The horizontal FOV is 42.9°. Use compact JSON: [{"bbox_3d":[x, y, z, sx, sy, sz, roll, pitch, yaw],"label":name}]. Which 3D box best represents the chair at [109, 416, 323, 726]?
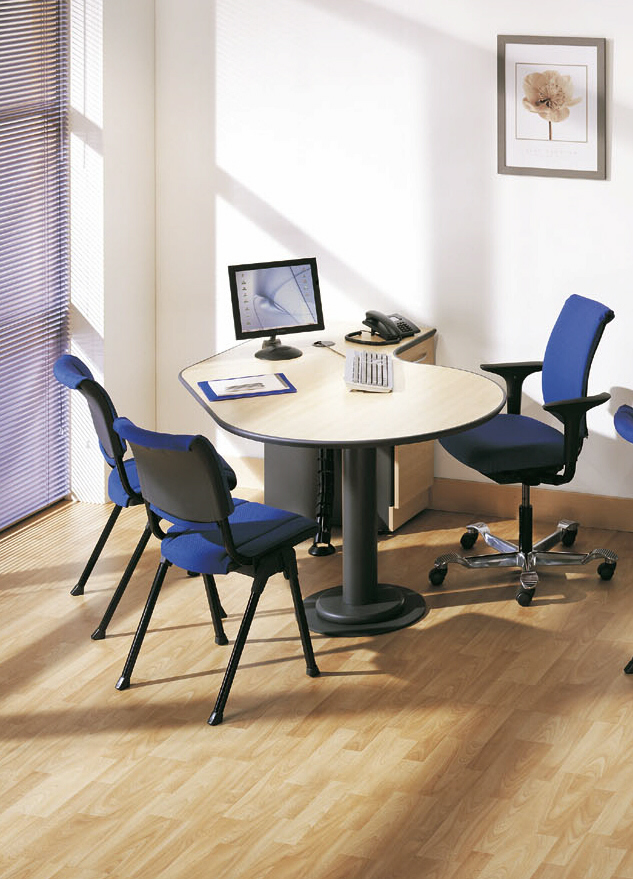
[{"bbox_3d":[-0.329,0.465,2.650,0.577,1.014,0.737,17,28,39],"label":"chair"}]

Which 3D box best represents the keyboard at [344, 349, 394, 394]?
[{"bbox_3d":[0.199,-0.255,3.013,0.175,0.051,0.248,7,24,2],"label":"keyboard"}]

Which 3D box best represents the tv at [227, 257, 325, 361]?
[{"bbox_3d":[-0.173,-0.555,3.416,0.438,0.394,0.206,-13,24,-30],"label":"tv"}]

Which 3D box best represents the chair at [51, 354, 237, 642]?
[{"bbox_3d":[-0.543,0.267,2.849,0.738,0.902,0.583,7,-9,-23],"label":"chair"}]
